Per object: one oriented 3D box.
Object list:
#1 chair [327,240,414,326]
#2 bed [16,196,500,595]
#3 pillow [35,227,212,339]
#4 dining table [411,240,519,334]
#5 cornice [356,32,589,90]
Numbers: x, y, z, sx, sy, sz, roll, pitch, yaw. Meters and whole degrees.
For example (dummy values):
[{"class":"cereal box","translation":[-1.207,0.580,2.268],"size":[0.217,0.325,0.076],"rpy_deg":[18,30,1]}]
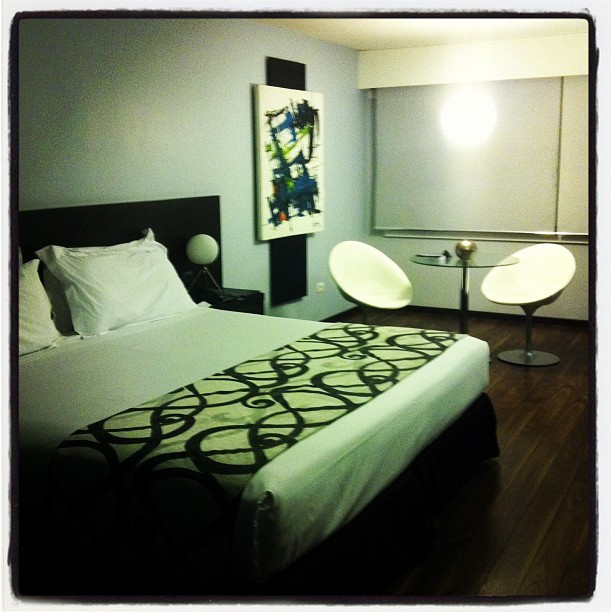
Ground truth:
[{"class":"chair","translation":[0.202,-0.037,1.874],"size":[0.282,0.282,0.271],"rpy_deg":[-1,23,-19]},{"class":"bed","translation":[-0.148,0.165,1.441],"size":[0.991,0.870,0.867],"rpy_deg":[4,14,26]},{"class":"pillow","translation":[-0.529,-0.084,1.537],"size":[0.243,0.248,0.514],"rpy_deg":[15,16,39]},{"class":"dining table","translation":[0.497,-0.048,1.805],"size":[0.297,0.304,0.276],"rpy_deg":[2,14,11]},{"class":"cornice","translation":[0.455,-0.699,1.652],"size":[0.654,0.145,0.084],"rpy_deg":[5,15,31]}]
